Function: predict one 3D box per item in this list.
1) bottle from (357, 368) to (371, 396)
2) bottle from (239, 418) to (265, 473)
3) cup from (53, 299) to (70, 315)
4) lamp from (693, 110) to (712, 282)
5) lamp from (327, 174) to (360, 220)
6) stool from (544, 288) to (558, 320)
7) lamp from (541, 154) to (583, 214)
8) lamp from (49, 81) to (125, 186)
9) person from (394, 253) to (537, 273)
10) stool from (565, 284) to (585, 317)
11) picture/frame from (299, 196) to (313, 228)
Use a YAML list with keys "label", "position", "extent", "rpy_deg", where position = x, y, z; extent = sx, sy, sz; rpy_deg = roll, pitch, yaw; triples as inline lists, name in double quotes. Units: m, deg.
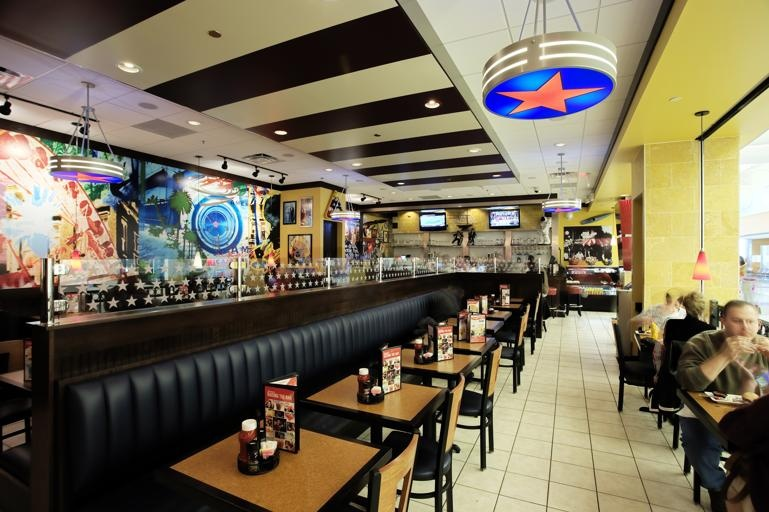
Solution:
- label: "bottle"
  position: [-0.191, 1.257, 5.063]
  extent: [0.133, 0.268, 0.177]
  rpy_deg: [0, 3, -1]
- label: "bottle"
  position: [-1.153, 1.616, 4.321]
  extent: [0.249, 0.433, 0.160]
  rpy_deg: [1, 3, 8]
- label: "cup"
  position: [-3.007, 0.474, 4.674]
  extent: [0.135, 0.122, 0.121]
  rpy_deg: [5, 3, -43]
- label: "lamp"
  position: [4.469, -0.687, 7.045]
  extent: [0.216, 2.373, 0.914]
  rpy_deg: [2, 3, 33]
- label: "lamp"
  position: [-1.166, -1.378, 13.217]
  extent: [0.992, 1.039, 0.920]
  rpy_deg: [1, -5, 2]
- label: "stool"
  position: [4.475, 1.240, 13.332]
  extent: [0.261, 0.800, 0.684]
  rpy_deg: [1, 3, 23]
- label: "lamp"
  position: [4.225, -1.738, 11.907]
  extent: [0.979, 1.547, 0.937]
  rpy_deg: [1, -2, 11]
- label: "lamp"
  position: [-4.654, -1.933, 7.818]
  extent: [1.210, 1.568, 1.146]
  rpy_deg: [1, -7, -19]
- label: "person"
  position: [1.466, 0.192, 10.548]
  extent: [3.373, 0.372, 1.280]
  rpy_deg: [-1, 3, -34]
- label: "stool"
  position: [5.379, 1.206, 14.124]
  extent: [0.444, 0.770, 1.005]
  rpy_deg: [1, 3, 23]
- label: "picture/frame"
  position: [-1.979, -1.125, 12.875]
  extent: [0.421, 0.731, 0.068]
  rpy_deg: [2, 3, 30]
